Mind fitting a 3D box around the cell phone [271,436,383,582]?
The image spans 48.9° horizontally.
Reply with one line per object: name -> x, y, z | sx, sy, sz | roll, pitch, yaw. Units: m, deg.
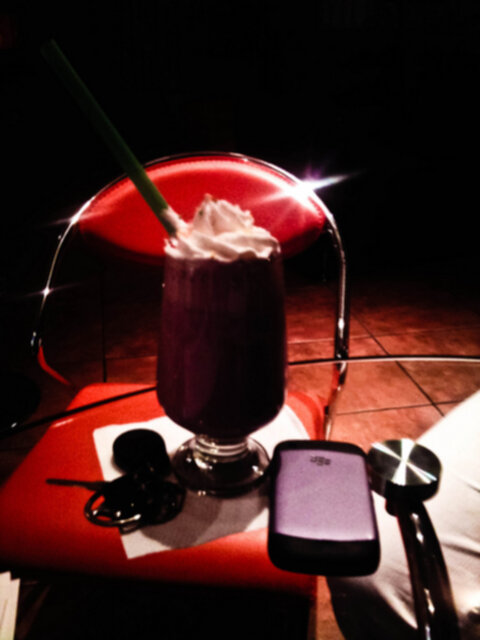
cell phone -> 0.055, 0.125, 0.369 | 0.071, 0.100, 0.083 | 5, 76, 4
